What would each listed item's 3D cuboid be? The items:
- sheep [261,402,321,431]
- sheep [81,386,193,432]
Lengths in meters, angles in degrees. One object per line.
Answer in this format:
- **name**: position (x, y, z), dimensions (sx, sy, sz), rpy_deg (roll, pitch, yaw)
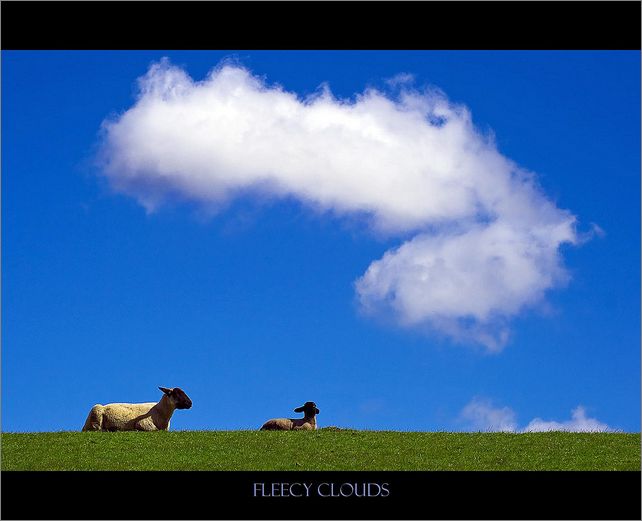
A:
- **sheep**: position (-0.740, 4.396, 38.895), dimensions (0.889, 0.663, 1.738), rpy_deg (8, 10, 43)
- **sheep**: position (-5.036, 4.054, 37.074), dimensions (0.965, 0.998, 2.870), rpy_deg (8, 10, 44)
